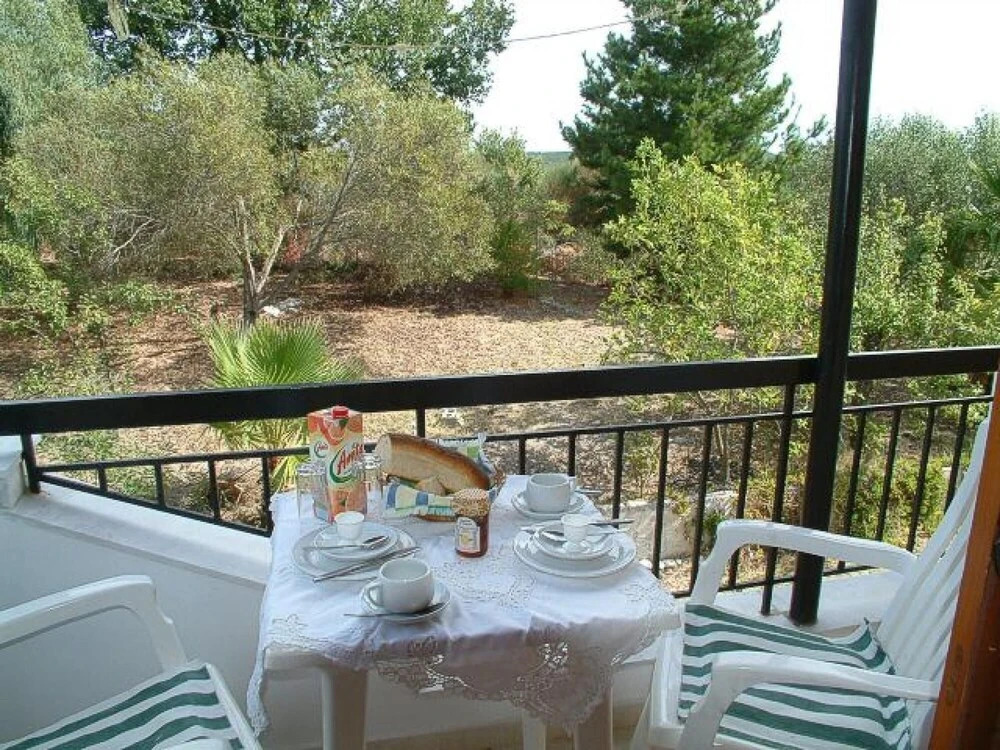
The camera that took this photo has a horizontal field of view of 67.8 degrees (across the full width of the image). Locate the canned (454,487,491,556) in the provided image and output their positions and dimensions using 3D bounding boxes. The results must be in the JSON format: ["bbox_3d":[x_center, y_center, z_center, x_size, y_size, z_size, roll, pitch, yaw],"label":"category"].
[{"bbox_3d":[-0.054,0.299,1.522,0.102,0.151,0.109,-1,3,-3],"label":"canned"}]

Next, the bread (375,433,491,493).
[{"bbox_3d":[-0.148,0.200,1.689,0.225,0.086,0.126,25,9,0],"label":"bread"}]

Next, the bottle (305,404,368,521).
[{"bbox_3d":[-0.358,0.214,1.693,0.112,0.274,0.112,-2,3,0],"label":"bottle"}]
